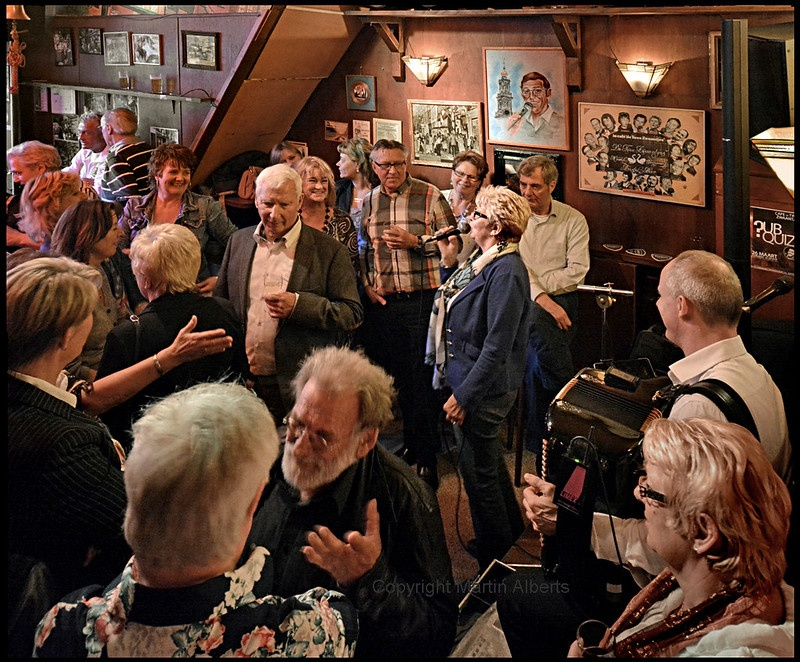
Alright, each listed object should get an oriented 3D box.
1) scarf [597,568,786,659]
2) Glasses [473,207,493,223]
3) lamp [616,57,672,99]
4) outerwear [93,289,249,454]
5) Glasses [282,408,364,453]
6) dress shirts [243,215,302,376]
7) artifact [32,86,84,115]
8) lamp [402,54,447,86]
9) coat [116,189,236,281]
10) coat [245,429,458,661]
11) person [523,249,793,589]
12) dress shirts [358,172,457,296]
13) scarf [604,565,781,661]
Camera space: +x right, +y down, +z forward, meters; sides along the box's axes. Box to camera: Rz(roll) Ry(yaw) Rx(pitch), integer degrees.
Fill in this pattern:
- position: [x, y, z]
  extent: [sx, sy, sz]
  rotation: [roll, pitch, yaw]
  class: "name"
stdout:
- position: [0.649, 0.665, 1.490]
  extent: [0.302, 0.143, 0.247]
  rotation: [-14, -14, 16]
  class: "scarf"
- position: [0.342, -0.483, 2.705]
  extent: [0.056, 0.018, 0.056]
  rotation: [23, 11, -10]
  class: "Glasses"
- position: [1.290, -1.349, 3.453]
  extent: [0.200, 0.147, 0.187]
  rotation: [4, 6, 23]
  class: "lamp"
- position: [-0.770, 0.122, 2.113]
  extent: [0.460, 0.654, 0.222]
  rotation: [-17, 29, -22]
  class: "outerwear"
- position: [-0.243, 0.304, 1.921]
  extent: [0.215, 0.092, 0.054]
  rotation: [6, 10, 15]
  class: "Glasses"
- position: [-0.597, -0.111, 2.956]
  extent: [0.226, 0.814, 0.235]
  rotation: [13, 8, 26]
  class: "dress shirts"
- position: [-2.914, -1.970, 5.532]
  extent: [0.279, 0.192, 0.158]
  rotation: [11, 13, 32]
  class: "artifact"
- position: [0.160, -1.578, 4.031]
  extent: [0.192, 0.142, 0.197]
  rotation: [3, 10, 8]
  class: "lamp"
- position: [-1.099, -0.459, 3.148]
  extent: [0.588, 0.511, 0.195]
  rotation: [1, 4, -9]
  class: "coat"
- position: [-0.149, 0.605, 1.795]
  extent: [0.633, 0.530, 0.337]
  rotation: [12, 4, 36]
  class: "coat"
- position: [1.004, 0.156, 2.528]
  extent: [0.896, 1.650, 0.834]
  rotation: [4, 6, 36]
  class: "person"
- position: [0.034, -0.509, 3.594]
  extent: [0.711, 0.780, 0.415]
  rotation: [0, 1, 16]
  class: "dress shirts"
- position: [0.656, 0.659, 1.489]
  extent: [0.303, 0.140, 0.237]
  rotation: [-19, 59, -16]
  class: "scarf"
